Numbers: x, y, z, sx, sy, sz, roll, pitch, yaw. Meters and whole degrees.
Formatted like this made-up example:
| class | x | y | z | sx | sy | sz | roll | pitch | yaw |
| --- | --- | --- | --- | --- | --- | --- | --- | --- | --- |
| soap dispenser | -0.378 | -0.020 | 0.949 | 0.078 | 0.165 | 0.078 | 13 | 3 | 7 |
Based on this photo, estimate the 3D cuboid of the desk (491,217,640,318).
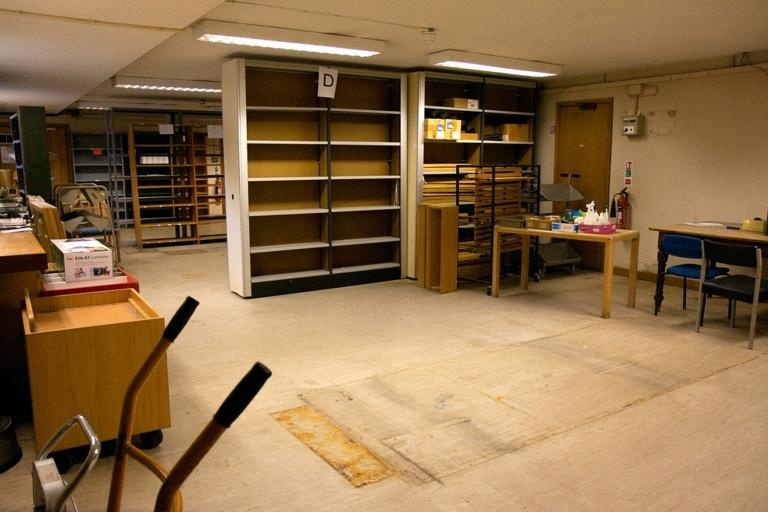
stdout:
| class | x | y | z | sx | sy | sz | roll | pitch | yaw |
| --- | --- | --- | --- | --- | --- | --- | --- | --- | --- |
| desk | 2.631 | 0.147 | 7.698 | 0.992 | 1.023 | 1.837 | -6 | 11 | -44 |

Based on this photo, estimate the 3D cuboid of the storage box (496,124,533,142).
| class | x | y | z | sx | sy | sz | roll | pitch | yaw |
| --- | --- | --- | --- | --- | --- | --- | --- | --- | --- |
| storage box | 2.488 | -2.333 | 9.791 | 0.535 | 0.286 | 0.497 | -2 | 6 | -18 |

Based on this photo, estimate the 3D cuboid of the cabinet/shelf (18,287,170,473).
| class | x | y | z | sx | sy | sz | roll | pitch | yaw |
| --- | --- | --- | --- | --- | --- | --- | --- | --- | --- |
| cabinet/shelf | -2.522 | 0.902 | 4.447 | 1.084 | 1.169 | 1.292 | -2 | 11 | -31 |

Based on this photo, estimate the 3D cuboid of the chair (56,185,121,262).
| class | x | y | z | sx | sy | sz | roll | pitch | yaw |
| --- | --- | --- | --- | --- | --- | --- | --- | --- | --- |
| chair | -5.590 | -0.563 | 9.793 | 1.033 | 1.521 | 0.989 | 9 | 21 | 41 |

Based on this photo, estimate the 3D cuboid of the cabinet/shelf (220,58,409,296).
| class | x | y | z | sx | sy | sz | roll | pitch | yaw |
| --- | --- | --- | --- | --- | --- | --- | --- | --- | --- |
| cabinet/shelf | -1.138 | -1.348 | 8.290 | 3.961 | 4.080 | 0.942 | -4 | 9 | -28 |

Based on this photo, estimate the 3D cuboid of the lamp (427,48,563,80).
| class | x | y | z | sx | sy | sz | roll | pitch | yaw |
| --- | --- | --- | --- | --- | --- | --- | --- | --- | --- |
| lamp | 1.738 | -3.033 | 8.112 | 2.227 | 0.188 | 0.527 | -8 | 13 | -33 |

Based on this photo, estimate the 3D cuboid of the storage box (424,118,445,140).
| class | x | y | z | sx | sy | sz | roll | pitch | yaw |
| --- | --- | --- | --- | --- | --- | --- | --- | --- | --- |
| storage box | 0.820 | -2.101 | 8.549 | 0.413 | 0.322 | 0.138 | -6 | 11 | -35 |
